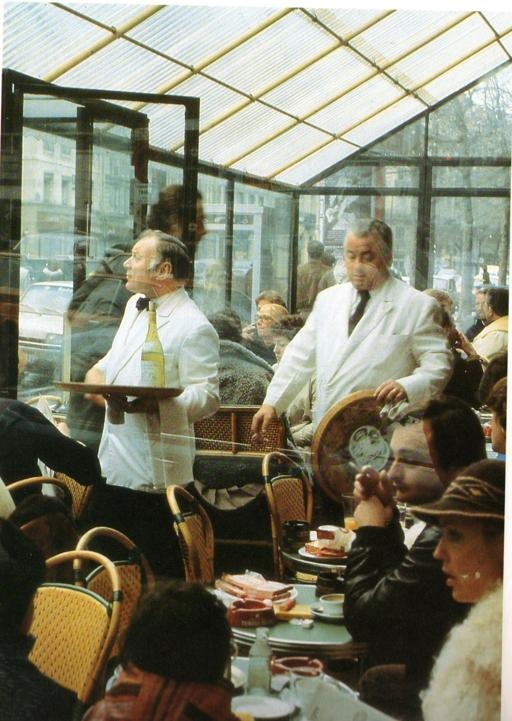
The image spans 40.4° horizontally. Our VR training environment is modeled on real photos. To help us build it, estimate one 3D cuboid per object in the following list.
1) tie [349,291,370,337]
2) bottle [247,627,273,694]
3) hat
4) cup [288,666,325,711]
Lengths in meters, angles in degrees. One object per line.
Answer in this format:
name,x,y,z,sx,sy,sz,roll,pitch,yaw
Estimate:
tie,0.347,-0.160,2.380,0.041,0.164,0.025,16,12,-7
bottle,0.013,0.852,1.997,0.070,0.162,0.131,3,2,2
hat,0.657,0.431,2.297,0.283,0.129,0.205,0,1,-5
cup,0.139,0.887,1.877,0.091,0.059,0.065,0,3,12
